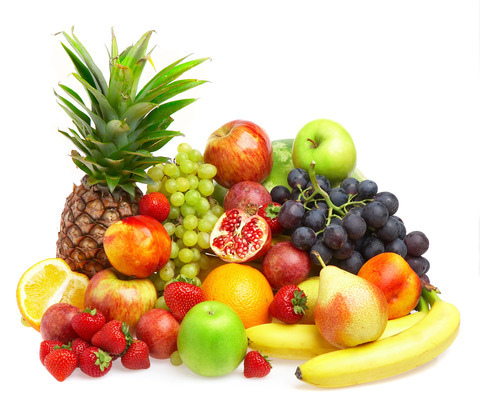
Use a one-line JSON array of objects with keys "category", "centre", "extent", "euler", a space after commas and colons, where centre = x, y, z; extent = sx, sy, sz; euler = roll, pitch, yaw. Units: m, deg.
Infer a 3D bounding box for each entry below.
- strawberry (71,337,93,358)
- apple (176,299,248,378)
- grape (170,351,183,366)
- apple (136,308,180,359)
[{"category": "strawberry", "centre": [-1.109, 0.957, 3.617], "extent": [0.122, 0.113, 0.102], "euler": [-43, -10, -36]}, {"category": "apple", "centre": [-0.152, 0.885, 3.587], "extent": [0.456, 0.448, 0.473], "euler": [4, -2, 13]}, {"category": "grape", "centre": [-0.460, 1.080, 3.748], "extent": [0.075, 0.095, 0.053], "euler": [3, 5, 10]}, {"category": "apple", "centre": [-0.551, 0.923, 3.866], "extent": [0.323, 0.375, 0.321], "euler": [22, -9, 5]}]
